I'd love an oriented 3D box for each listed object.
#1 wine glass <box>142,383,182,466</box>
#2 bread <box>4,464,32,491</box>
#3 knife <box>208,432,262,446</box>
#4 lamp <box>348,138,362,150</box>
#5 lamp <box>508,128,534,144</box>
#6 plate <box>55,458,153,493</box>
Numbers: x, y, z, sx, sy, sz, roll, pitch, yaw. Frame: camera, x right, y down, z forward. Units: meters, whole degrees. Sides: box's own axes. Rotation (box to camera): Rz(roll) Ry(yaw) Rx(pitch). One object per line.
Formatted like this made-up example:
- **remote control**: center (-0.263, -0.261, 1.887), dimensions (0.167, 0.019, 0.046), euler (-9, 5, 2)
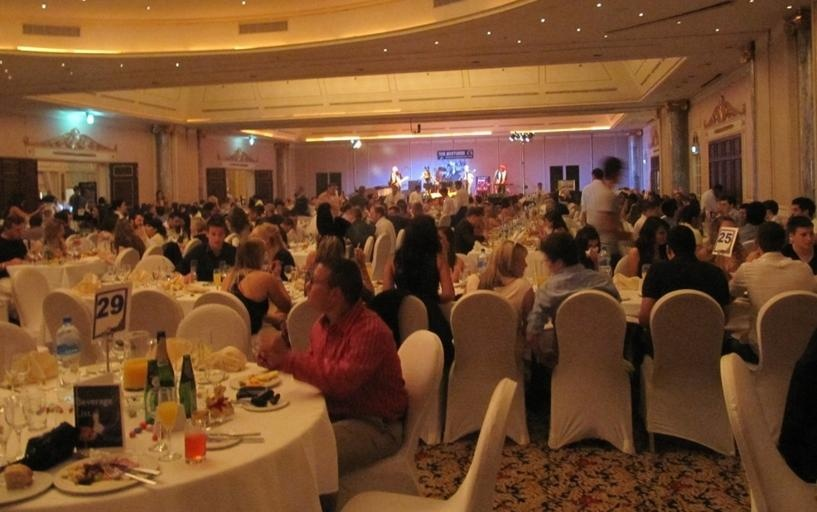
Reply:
- **wine glass**: center (-1.429, 0.935, 3.634), dimensions (0.187, 0.392, 0.359), euler (-4, 8, -21)
- **bread**: center (-2.075, 1.164, 3.329), dimensions (0.130, 0.102, 0.124), euler (5, 4, -8)
- **knife**: center (-1.028, 1.058, 3.643), dimensions (0.345, 0.021, 0.107), euler (-3, 37, -11)
- **lamp**: center (-2.162, -4.572, 25.378), dimensions (0.626, 0.579, 0.415), euler (-7, 8, 0)
- **lamp**: center (4.389, -4.709, 24.508), dimensions (0.932, 0.458, 2.259), euler (0, 7, 9)
- **plate**: center (-1.650, 1.187, 3.367), dimensions (0.292, 0.042, 0.262), euler (5, 7, -23)
